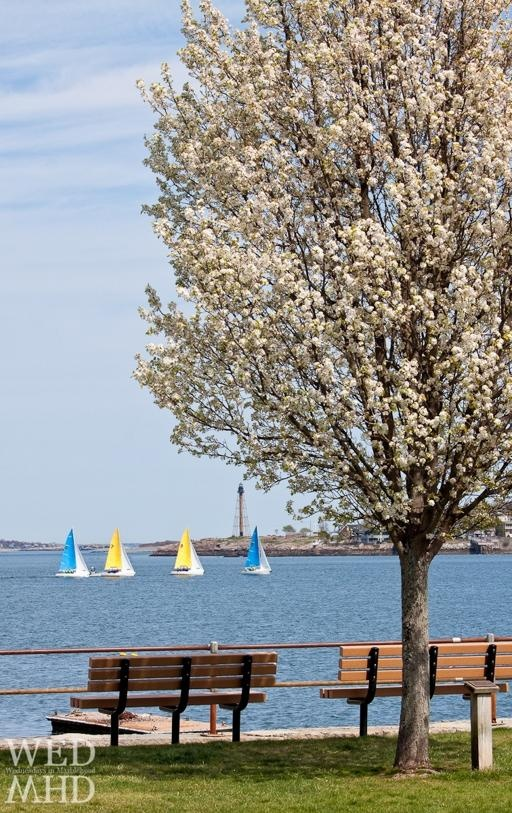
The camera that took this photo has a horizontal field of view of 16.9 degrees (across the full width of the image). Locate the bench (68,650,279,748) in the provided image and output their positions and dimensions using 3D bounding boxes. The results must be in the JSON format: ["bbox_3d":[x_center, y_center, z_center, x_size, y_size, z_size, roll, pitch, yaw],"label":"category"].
[{"bbox_3d":[-0.858,3.176,18.676,2.104,1.056,0.645,2,2,-23],"label":"bench"}]
